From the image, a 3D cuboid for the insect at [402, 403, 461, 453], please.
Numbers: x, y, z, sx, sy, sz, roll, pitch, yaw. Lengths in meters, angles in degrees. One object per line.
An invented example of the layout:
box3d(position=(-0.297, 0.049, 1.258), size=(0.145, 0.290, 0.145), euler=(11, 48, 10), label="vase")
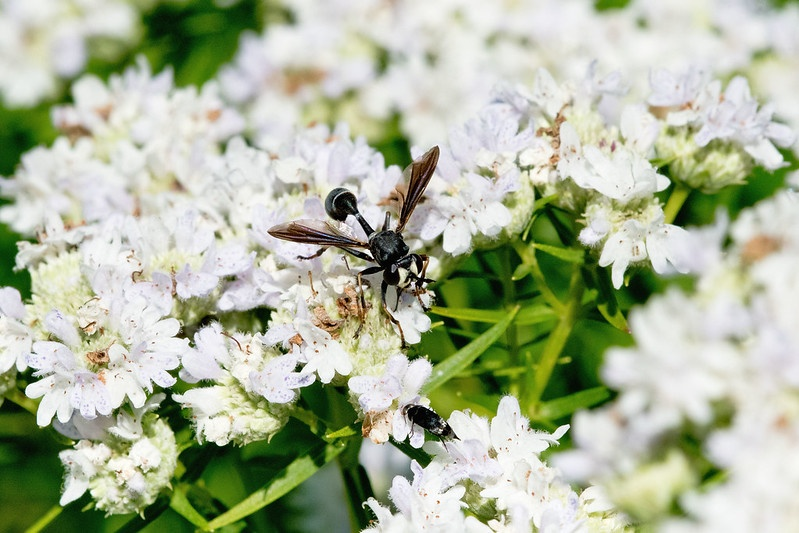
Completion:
box3d(position=(0.173, 0.827, 4.541), size=(0.080, 0.204, 0.266), euler=(-37, -76, 28), label="insect")
